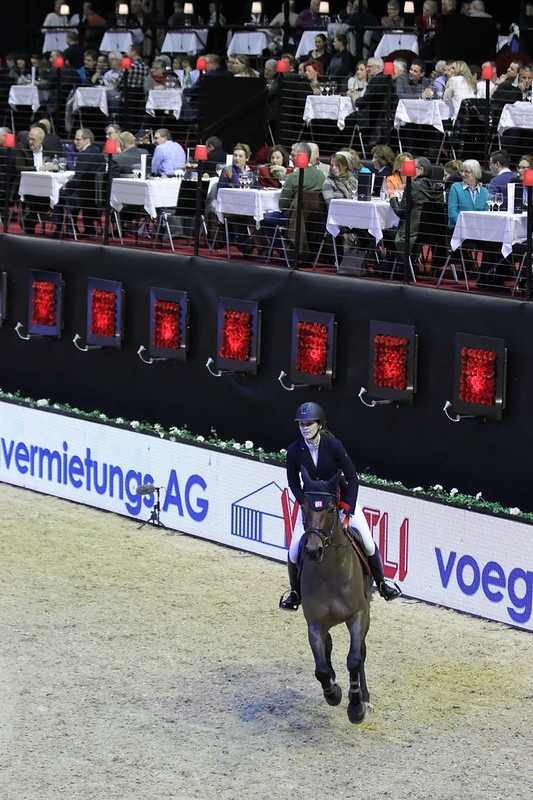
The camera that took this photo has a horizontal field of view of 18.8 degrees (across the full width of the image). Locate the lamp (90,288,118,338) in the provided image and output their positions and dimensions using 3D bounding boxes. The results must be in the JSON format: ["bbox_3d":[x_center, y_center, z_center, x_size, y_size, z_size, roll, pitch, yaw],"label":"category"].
[{"bbox_3d":[-1.868,-1.013,18.522,0.313,0.574,0.451,-4,8,-44],"label":"lamp"}]

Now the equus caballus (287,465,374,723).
[{"bbox_3d":[0.540,1.575,11.836,0.505,1.556,2.102,-3,-18,7],"label":"equus caballus"}]

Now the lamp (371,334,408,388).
[{"bbox_3d":[1.213,-0.369,15.435,0.109,0.463,0.397,1,8,-37],"label":"lamp"}]

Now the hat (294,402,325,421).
[{"bbox_3d":[0.319,0.101,11.622,0.184,0.150,0.293,2,12,8],"label":"hat"}]

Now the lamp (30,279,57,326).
[{"bbox_3d":[-2.706,-1.163,19.304,0.115,0.548,0.460,-8,14,-40],"label":"lamp"}]

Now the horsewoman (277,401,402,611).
[{"bbox_3d":[0.436,0.794,11.975,0.830,1.561,0.797,-6,6,-16],"label":"horsewoman"}]

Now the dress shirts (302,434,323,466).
[{"bbox_3d":[0.339,0.362,11.772,0.128,0.203,0.133,-5,-1,4],"label":"dress shirts"}]
